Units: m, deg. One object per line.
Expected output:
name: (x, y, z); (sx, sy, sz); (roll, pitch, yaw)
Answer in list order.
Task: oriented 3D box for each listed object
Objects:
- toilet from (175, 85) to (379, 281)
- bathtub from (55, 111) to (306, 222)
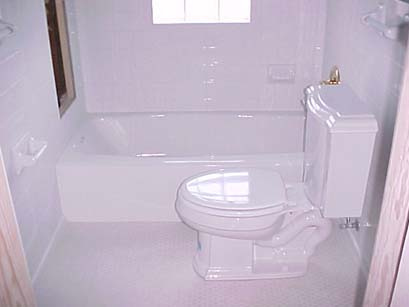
toilet: (0.316, 0.216, 1.746); (0.958, 1.058, 0.545); (0, 23, 5)
bathtub: (-0.187, 0.078, 2.139); (1.215, 0.367, 1.470); (0, 25, -6)
